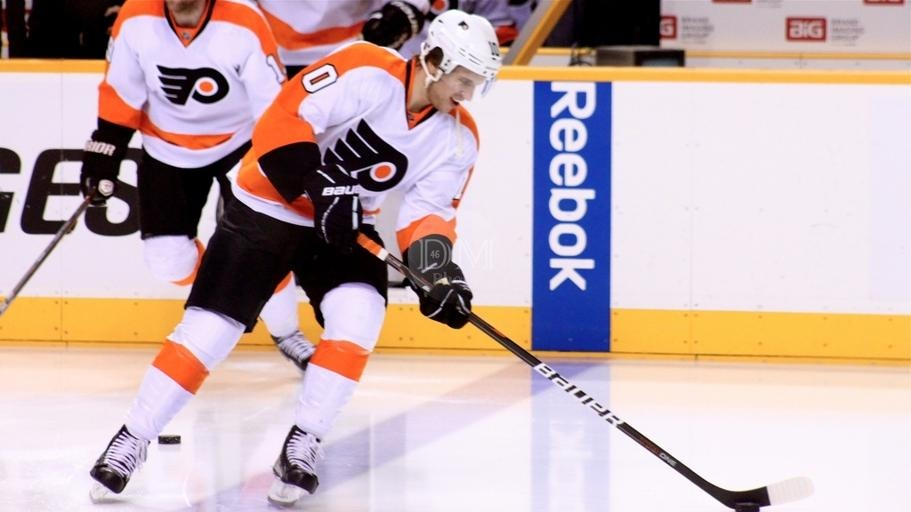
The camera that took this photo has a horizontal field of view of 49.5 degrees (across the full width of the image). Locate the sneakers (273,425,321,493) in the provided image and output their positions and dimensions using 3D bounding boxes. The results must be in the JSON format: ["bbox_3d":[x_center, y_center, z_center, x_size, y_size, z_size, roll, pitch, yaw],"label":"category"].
[{"bbox_3d":[-0.817,1.054,5.202,0.152,0.210,0.441,34,-3,-12],"label":"sneakers"}]

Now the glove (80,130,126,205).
[{"bbox_3d":[-2.170,-0.547,6.086,0.275,0.435,0.140,19,-5,-10],"label":"glove"}]

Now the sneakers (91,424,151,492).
[{"bbox_3d":[-1.732,1.039,5.096,0.143,0.311,0.212,13,10,31],"label":"sneakers"}]
